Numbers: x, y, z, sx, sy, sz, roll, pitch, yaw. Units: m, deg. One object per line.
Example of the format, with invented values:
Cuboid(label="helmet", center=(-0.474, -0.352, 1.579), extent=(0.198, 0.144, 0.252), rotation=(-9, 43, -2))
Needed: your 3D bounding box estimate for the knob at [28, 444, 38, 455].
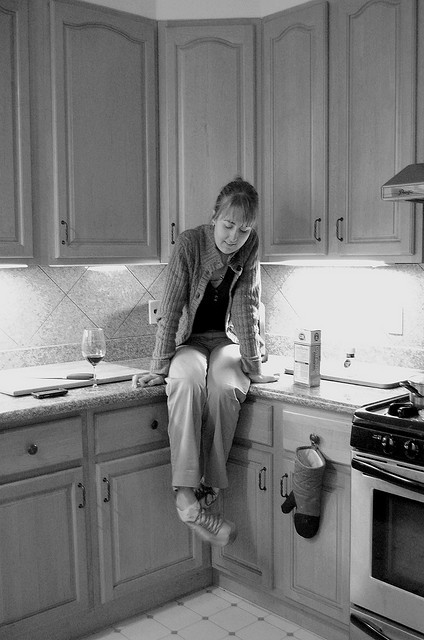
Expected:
Cuboid(label="knob", center=(-0.501, 0.362, 1.442), extent=(0.023, 0.026, 0.012), rotation=(-29, -21, 33))

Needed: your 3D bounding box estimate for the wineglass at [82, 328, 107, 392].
Cuboid(label="wineglass", center=(-0.384, 0.112, 1.707), extent=(0.071, 0.231, 0.078), rotation=(-5, 15, -42))

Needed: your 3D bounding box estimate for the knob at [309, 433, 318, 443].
Cuboid(label="knob", center=(0.306, 0.358, 1.561), extent=(0.022, 0.026, 0.006), rotation=(5, 5, 42))

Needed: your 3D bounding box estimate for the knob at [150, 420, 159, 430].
Cuboid(label="knob", center=(-0.198, 0.365, 1.787), extent=(0.010, 0.037, 0.039), rotation=(5, 9, 42))

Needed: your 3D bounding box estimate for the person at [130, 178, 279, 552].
Cuboid(label="person", center=(-0.013, 0.131, 1.852), extent=(0.430, 1.223, 0.521), rotation=(2, 7, 28))
